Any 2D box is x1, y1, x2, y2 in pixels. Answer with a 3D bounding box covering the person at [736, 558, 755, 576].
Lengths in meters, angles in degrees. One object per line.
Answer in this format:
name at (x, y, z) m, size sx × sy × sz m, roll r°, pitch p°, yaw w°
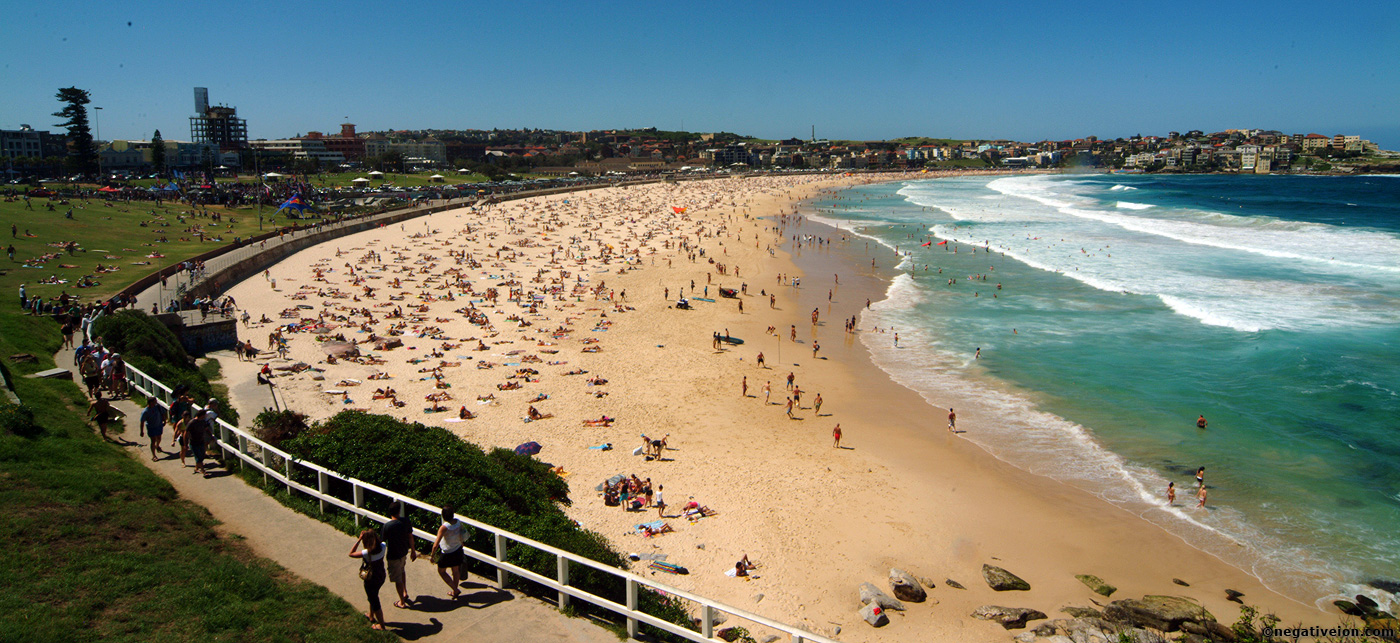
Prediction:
person at (2.351, 11.982, 42.654) m, size 0.680 × 0.747 × 0.992 m, roll 18°, pitch 24°, yaw 40°
